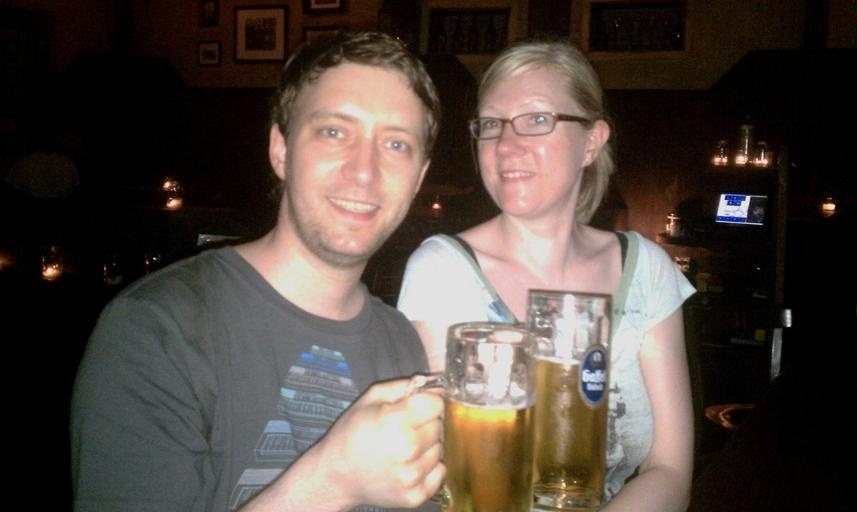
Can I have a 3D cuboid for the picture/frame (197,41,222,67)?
[{"bbox_3d":[-2.710,-2.531,8.479,0.376,0.323,0.037,2,11,9],"label":"picture/frame"}]
